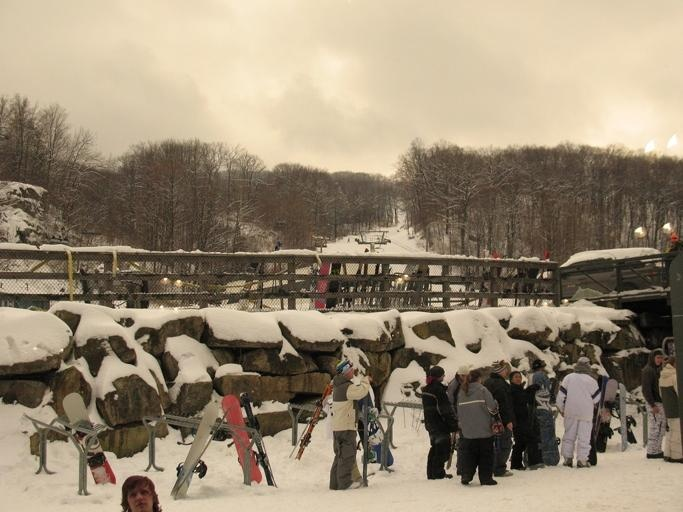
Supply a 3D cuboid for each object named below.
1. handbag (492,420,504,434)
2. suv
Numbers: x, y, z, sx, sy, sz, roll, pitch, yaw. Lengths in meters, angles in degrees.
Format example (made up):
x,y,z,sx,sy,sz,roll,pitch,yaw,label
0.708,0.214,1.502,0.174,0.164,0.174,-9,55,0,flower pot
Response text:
x,y,z,sx,sy,sz,roll,pitch,yaw,label
4.880,5.285,36.521,0.425,0.394,0.138,3,-5,-39,handbag
10.821,0.581,46.743,3.784,2.228,5.019,-4,-1,34,suv
